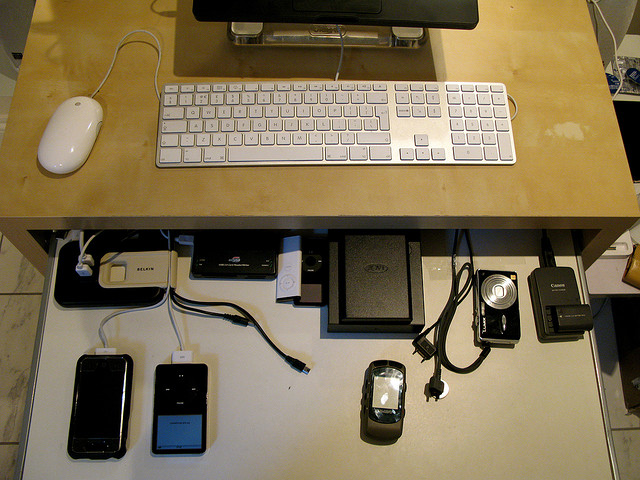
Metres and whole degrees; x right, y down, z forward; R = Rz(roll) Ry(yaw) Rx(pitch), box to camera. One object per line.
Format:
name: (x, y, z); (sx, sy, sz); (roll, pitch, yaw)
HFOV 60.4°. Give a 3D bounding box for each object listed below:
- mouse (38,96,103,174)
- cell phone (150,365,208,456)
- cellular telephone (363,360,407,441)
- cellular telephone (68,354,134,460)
mouse: (-0.528, -0.219, 1.164); (0.093, 0.039, 0.177); (16, 83, 0)
cell phone: (-0.302, 0.374, 1.176); (0.151, 0.024, 0.248); (-2, 77, 2)
cellular telephone: (0.140, 0.339, 1.175); (0.076, 0.074, 0.137); (6, 48, -2)
cellular telephone: (-0.472, 0.352, 1.188); (0.118, 0.030, 0.222); (1, 69, -9)
